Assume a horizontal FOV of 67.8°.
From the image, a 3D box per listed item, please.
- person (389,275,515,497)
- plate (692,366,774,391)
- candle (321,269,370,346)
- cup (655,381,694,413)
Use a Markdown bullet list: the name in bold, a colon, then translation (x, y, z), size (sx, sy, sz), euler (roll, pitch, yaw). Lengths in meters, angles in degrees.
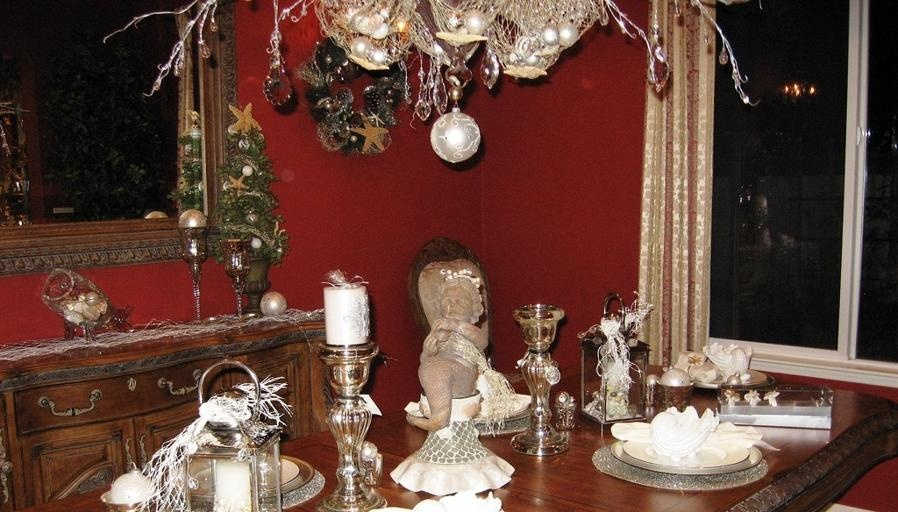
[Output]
- **person**: translation (0.018, 0.581, 2.993), size (0.549, 0.933, 0.615), euler (0, 4, 5)
- **plate**: translation (1.514, 0.689, 3.624), size (0.240, 0.032, 0.238), euler (-4, 5, -30)
- **candle**: translation (-0.425, 0.227, 2.786), size (0.176, 0.300, 0.206), euler (-1, 4, -8)
- **cup**: translation (1.154, 0.738, 3.438), size (0.163, 0.118, 0.147), euler (-3, 4, -41)
